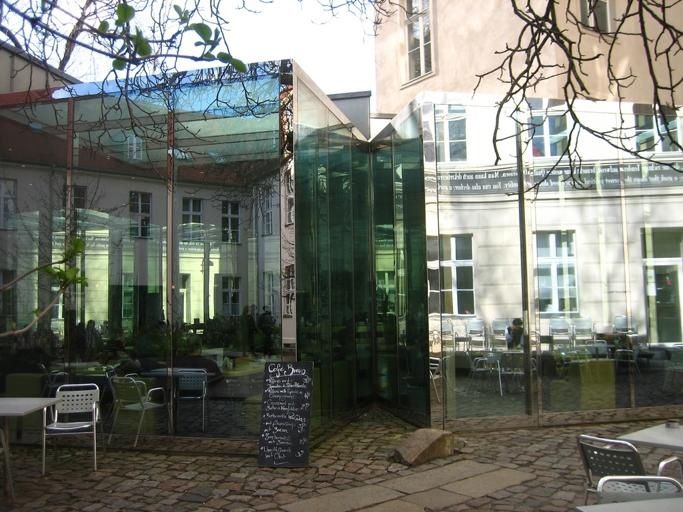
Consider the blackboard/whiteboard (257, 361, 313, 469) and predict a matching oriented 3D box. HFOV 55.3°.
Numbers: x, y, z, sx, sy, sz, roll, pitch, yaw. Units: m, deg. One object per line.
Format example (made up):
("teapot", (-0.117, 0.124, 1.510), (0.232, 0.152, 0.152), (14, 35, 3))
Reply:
("blackboard/whiteboard", (-0.676, 1.888, 7.877), (0.626, 1.095, 0.590), (-1, 5, -3))
